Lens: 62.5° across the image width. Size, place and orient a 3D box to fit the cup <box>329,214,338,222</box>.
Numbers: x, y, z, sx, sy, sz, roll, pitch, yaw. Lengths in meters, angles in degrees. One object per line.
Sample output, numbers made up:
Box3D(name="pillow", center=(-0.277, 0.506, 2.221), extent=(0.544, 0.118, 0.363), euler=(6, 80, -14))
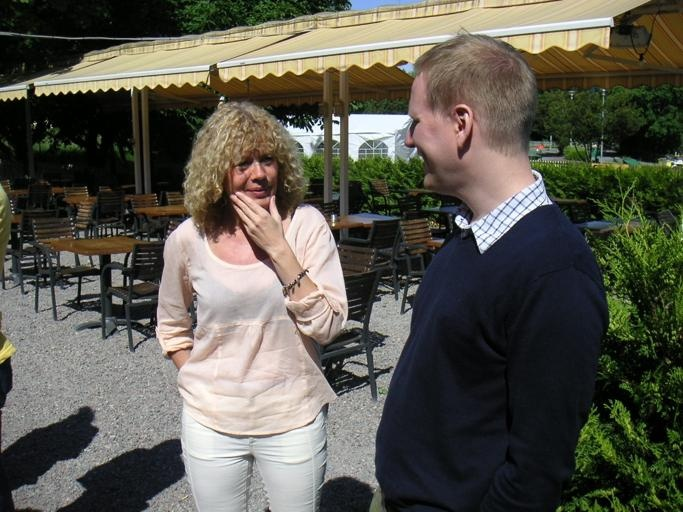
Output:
Box3D(name="cup", center=(-0.124, -0.561, 8.442), extent=(0.114, 0.140, 0.113), euler=(-2, 10, 0))

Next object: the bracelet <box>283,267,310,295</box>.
Box3D(name="bracelet", center=(-0.152, 0.088, 1.966), extent=(0.082, 0.022, 0.081), euler=(-47, 3, -17))
